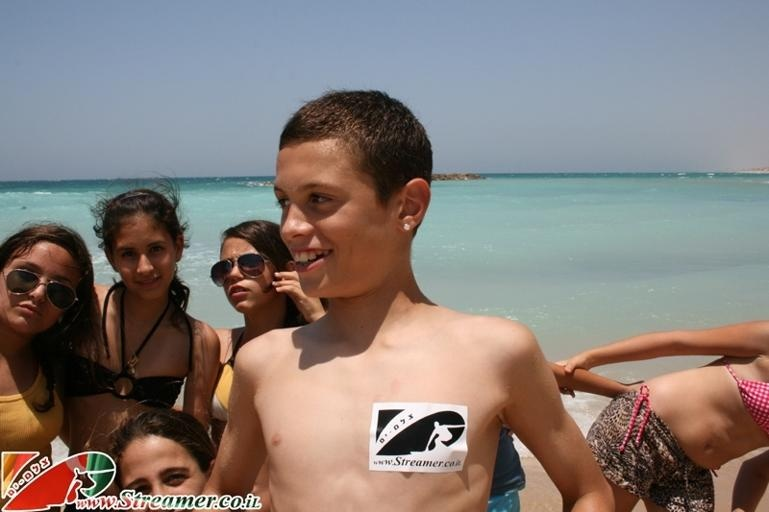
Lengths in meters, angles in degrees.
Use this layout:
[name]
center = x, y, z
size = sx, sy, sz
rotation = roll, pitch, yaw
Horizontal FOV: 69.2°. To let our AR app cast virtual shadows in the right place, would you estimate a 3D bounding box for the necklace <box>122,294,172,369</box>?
[necklace]
center = -1.941, 0.624, 4.508
size = 0.380, 0.590, 0.297
rotation = -2, 4, -19
